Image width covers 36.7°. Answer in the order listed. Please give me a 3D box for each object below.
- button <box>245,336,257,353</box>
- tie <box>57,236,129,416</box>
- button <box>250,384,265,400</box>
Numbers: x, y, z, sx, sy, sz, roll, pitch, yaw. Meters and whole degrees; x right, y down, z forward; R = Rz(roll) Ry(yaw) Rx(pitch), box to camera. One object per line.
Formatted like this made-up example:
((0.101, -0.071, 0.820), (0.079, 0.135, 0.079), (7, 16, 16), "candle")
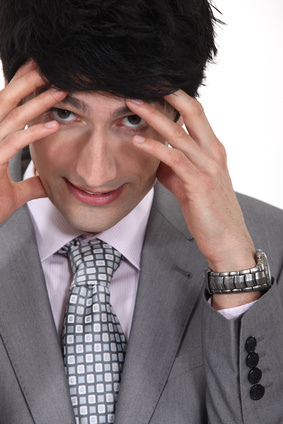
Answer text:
((0.270, 0.326, 1.048), (0.032, 0.039, 0.012), (-2, 6, -36), "button")
((-0.119, 0.272, 1.061), (0.148, 0.412, 0.046), (8, -37, -16), "tie")
((0.283, 0.440, 1.045), (0.037, 0.035, 0.008), (29, 2, -8), "button")
